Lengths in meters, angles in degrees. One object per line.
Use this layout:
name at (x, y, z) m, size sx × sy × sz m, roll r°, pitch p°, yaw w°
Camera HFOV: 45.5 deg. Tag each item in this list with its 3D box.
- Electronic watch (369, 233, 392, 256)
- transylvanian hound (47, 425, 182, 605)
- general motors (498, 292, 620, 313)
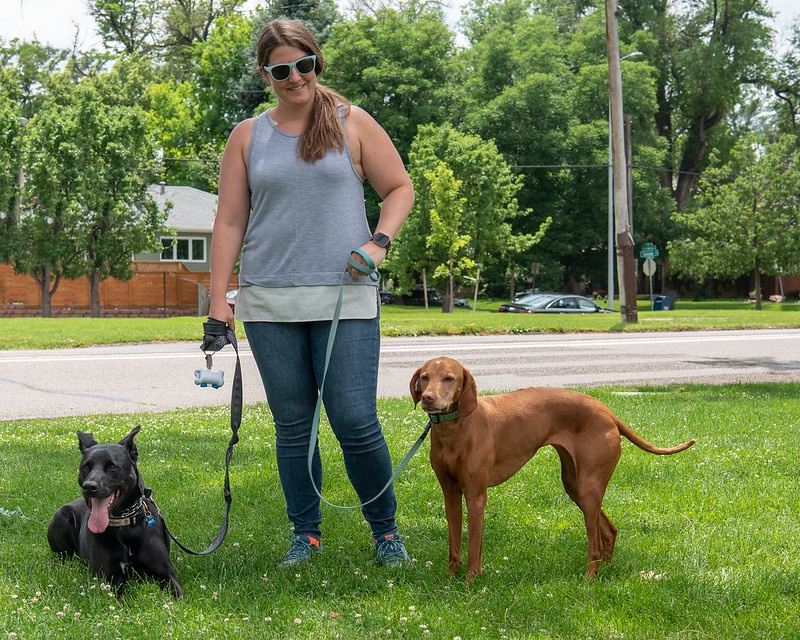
Electronic watch at (-0.122, -0.521, 6.462) m, size 0.109 × 0.159 × 0.141 m, roll -45°, pitch 0°, yaw -20°
transylvanian hound at (-1.904, 1.252, 6.510) m, size 0.717 × 1.109 × 0.916 m, roll 0°, pitch 2°, yaw -25°
general motors at (5.098, -0.556, 31.780) m, size 3.290 × 0.639 × 1.783 m, roll 1°, pitch 2°, yaw -18°
